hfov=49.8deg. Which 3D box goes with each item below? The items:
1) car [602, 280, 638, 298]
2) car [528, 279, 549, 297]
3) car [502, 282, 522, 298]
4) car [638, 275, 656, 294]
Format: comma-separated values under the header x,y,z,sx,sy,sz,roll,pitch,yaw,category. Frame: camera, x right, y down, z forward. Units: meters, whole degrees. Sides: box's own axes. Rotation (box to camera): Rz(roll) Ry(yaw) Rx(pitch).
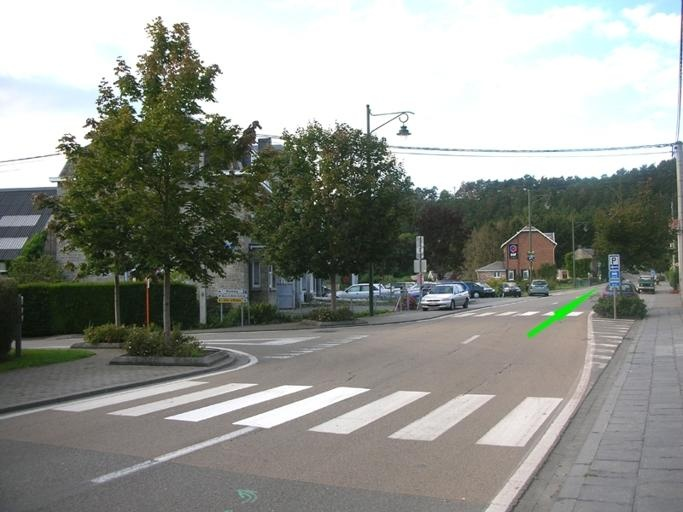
x,y,z,sx,sy,sz,roll,pitch,yaw,category
15.123,1.816,39.766,0.839,0.781,1.577,1,6,27,car
16.352,2.707,61.067,1.174,1.067,2.263,0,3,16,car
14.259,2.847,61.793,0.889,0.864,1.577,-1,-8,3,car
24.456,2.279,58.909,1.249,1.235,2.871,-1,-3,22,car
